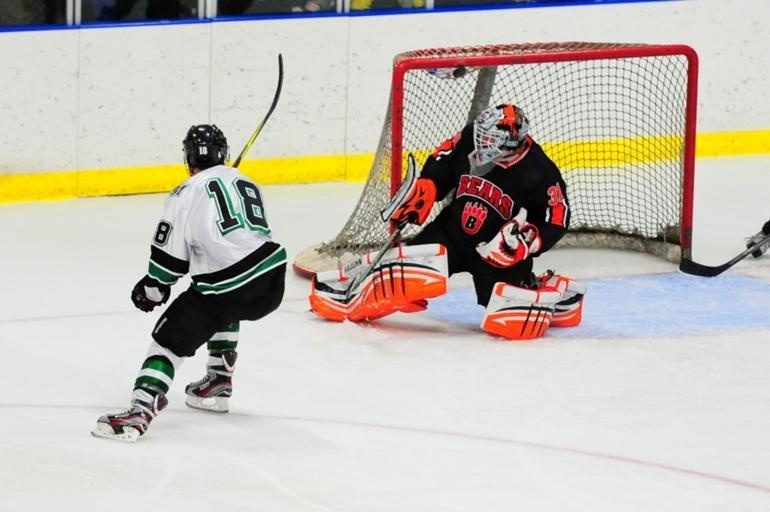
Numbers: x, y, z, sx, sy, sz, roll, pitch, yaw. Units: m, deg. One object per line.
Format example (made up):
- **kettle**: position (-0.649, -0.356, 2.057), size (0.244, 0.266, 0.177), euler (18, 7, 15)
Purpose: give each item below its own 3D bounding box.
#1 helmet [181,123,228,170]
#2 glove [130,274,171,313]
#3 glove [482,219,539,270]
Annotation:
- **helmet**: position (-0.779, -0.477, 3.745), size (0.198, 0.178, 0.197), euler (-2, 18, -7)
- **glove**: position (-1.005, 0.158, 3.627), size (0.170, 0.142, 0.064), euler (-29, 28, 30)
- **glove**: position (0.657, -0.071, 4.531), size (0.294, 0.255, 0.129), euler (1, 13, -18)
